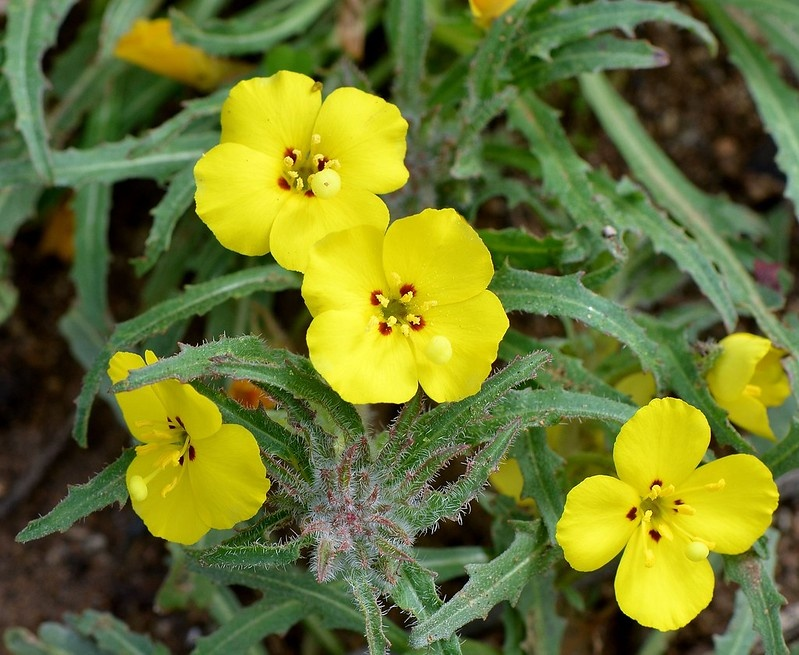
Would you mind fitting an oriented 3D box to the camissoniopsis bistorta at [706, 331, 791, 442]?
[{"bbox_3d":[0.943,0.157,2.240,0.155,0.230,0.216,21,107,3],"label":"camissoniopsis bistorta"}]

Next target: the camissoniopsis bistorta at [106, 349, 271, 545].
[{"bbox_3d":[-0.500,0.286,1.939,0.348,0.204,0.411,-18,79,-5],"label":"camissoniopsis bistorta"}]

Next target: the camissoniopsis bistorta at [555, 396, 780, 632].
[{"bbox_3d":[0.631,0.442,1.949,0.512,0.146,0.428,-44,82,-9],"label":"camissoniopsis bistorta"}]
